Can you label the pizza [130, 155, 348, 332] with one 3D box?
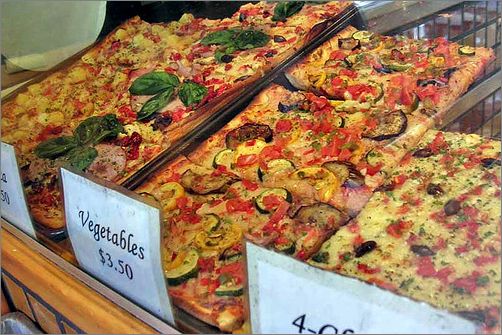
[{"bbox_3d":[-0.051,0.444,2.066,0.833,0.132,0.740,23,51,40],"label":"pizza"}]
